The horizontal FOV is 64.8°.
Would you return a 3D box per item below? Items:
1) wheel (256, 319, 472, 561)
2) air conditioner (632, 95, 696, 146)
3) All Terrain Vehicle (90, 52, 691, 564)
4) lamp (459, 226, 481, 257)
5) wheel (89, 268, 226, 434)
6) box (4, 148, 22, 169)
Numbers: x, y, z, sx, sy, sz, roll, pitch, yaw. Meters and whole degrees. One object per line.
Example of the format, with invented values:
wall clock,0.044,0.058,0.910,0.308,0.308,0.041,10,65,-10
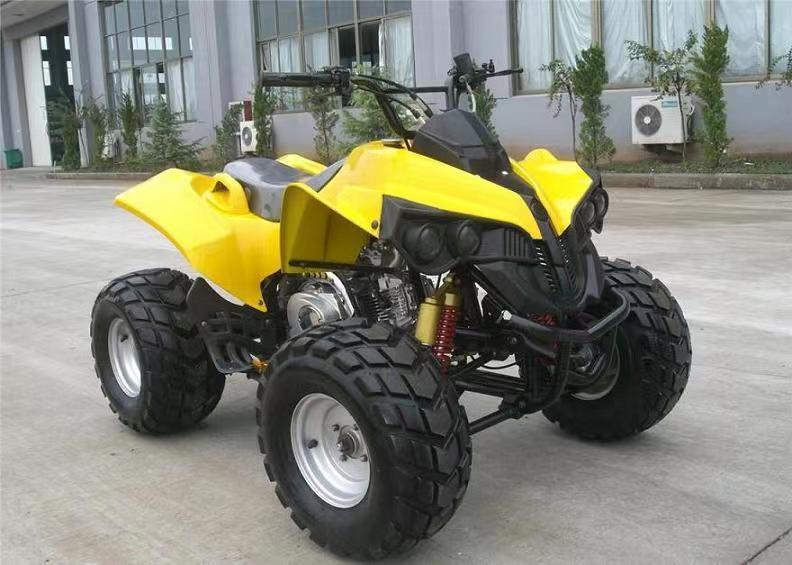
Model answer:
wheel,-0.141,0.708,2.707,0.300,0.911,0.889,-12,14,-43
air conditioner,6.616,-4.025,15.297,0.666,1.101,1.209,-6,7,-38
All Terrain Vehicle,-0.151,0.001,3.939,3.132,2.368,2.413,6,15,43
lamp,0.321,-0.187,2.752,0.091,0.093,0.032,-38,22,-16
wheel,-1.661,0.464,4.246,0.496,1.154,1.089,-14,11,-41
box,-24.695,-8.035,40.146,1.186,1.235,1.133,-4,17,-17
